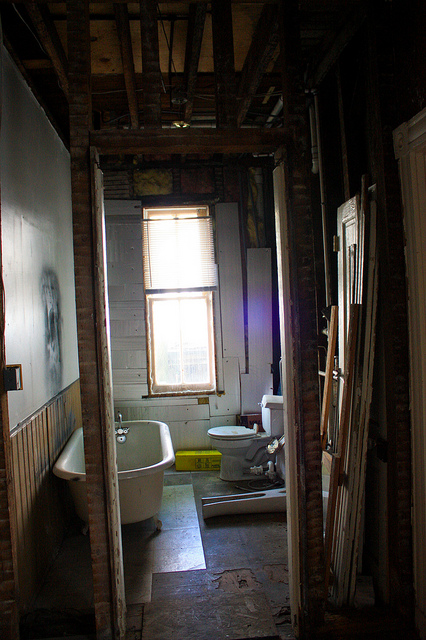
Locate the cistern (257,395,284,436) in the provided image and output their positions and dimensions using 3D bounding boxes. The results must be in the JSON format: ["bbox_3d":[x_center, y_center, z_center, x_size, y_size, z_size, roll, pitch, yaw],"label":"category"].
[{"bbox_3d":[0.478,0.777,4.150,0.223,0.373,0.411,0,0,-2],"label":"cistern"}]

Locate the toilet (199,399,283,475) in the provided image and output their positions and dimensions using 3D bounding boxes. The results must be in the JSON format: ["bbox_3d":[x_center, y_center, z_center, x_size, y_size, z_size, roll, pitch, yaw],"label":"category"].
[{"bbox_3d":[0.209,0.976,4.401,0.629,0.942,0.474,-1,1,-8],"label":"toilet"}]

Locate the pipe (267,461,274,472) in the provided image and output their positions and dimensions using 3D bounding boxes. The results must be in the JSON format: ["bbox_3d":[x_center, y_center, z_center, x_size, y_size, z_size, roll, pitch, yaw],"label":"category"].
[{"bbox_3d":[0.445,1.132,3.906,0.040,0.116,0.050,0,-2,1],"label":"pipe"}]

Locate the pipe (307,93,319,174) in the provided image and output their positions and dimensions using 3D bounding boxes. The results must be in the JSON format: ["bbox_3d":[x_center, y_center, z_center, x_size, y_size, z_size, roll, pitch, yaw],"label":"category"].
[{"bbox_3d":[0.618,-1.107,3.101,0.043,0.456,0.046,-4,-5,18],"label":"pipe"}]

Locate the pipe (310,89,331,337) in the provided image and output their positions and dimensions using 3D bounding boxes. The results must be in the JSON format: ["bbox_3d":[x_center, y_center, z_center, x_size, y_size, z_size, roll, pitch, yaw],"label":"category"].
[{"bbox_3d":[0.653,-0.727,3.018,0.092,1.403,0.073,-2,-1,44],"label":"pipe"}]

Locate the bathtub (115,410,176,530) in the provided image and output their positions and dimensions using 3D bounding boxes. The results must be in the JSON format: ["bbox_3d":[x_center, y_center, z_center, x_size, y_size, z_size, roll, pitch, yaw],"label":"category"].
[{"bbox_3d":[-0.581,1.058,3.576,0.439,0.694,1.043,-5,2,-17],"label":"bathtub"}]
